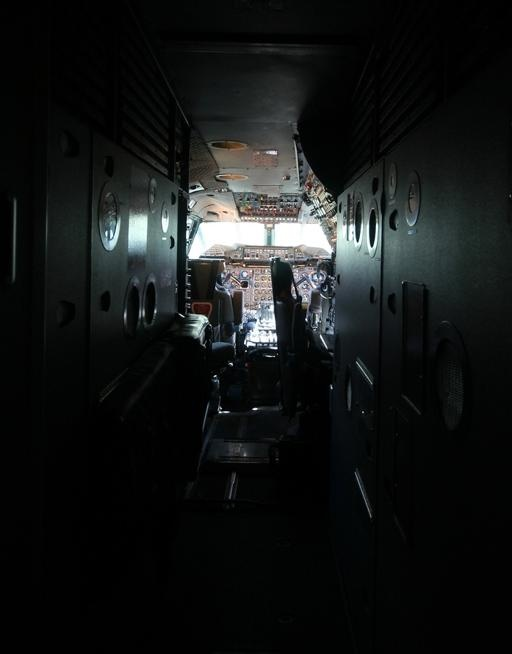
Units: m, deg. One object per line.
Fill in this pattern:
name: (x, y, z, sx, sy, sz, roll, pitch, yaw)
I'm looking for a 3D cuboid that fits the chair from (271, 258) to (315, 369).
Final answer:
chair: (0.249, -0.135, 3.369, 0.267, 0.721, 0.619, 1, 6, 2)
